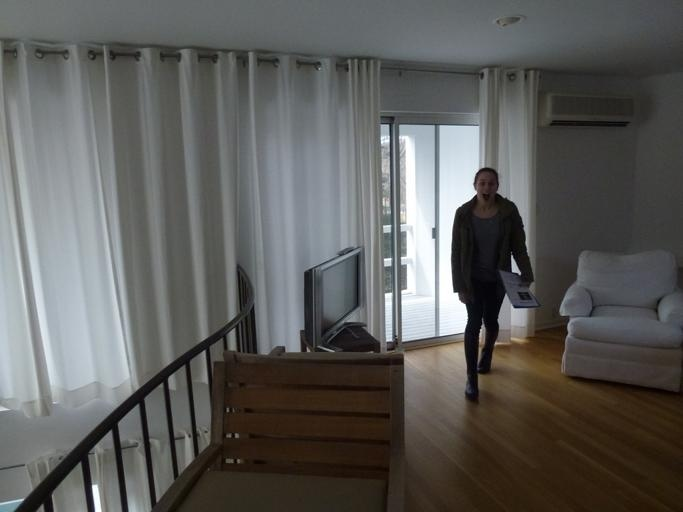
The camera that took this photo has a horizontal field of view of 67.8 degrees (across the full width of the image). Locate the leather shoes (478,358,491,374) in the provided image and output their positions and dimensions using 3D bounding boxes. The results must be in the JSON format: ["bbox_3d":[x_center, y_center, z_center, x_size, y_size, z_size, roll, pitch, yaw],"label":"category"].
[{"bbox_3d":[1.298,0.999,4.627,0.074,0.163,0.162,1,13,3],"label":"leather shoes"}]

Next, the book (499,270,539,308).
[{"bbox_3d":[1.409,0.315,4.011,0.269,0.293,0.285,1,52,-9],"label":"book"}]

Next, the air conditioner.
[{"bbox_3d":[2.615,-1.533,5.367,1.096,0.330,0.178,-3,11,-16],"label":"air conditioner"}]

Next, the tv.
[{"bbox_3d":[-0.039,0.359,3.959,0.120,0.535,0.760,2,8,19],"label":"tv"}]

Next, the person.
[{"bbox_3d":[1.237,0.220,4.260,0.630,1.885,0.483,-3,11,-15],"label":"person"}]
